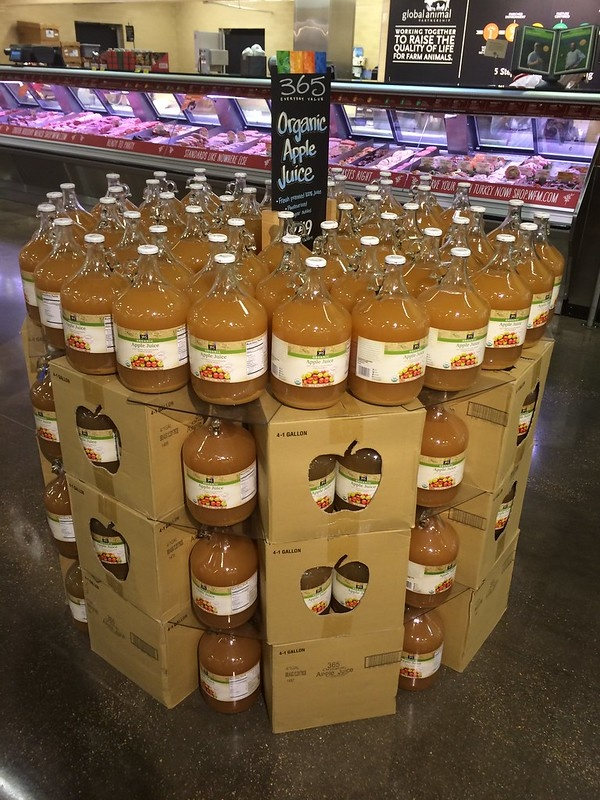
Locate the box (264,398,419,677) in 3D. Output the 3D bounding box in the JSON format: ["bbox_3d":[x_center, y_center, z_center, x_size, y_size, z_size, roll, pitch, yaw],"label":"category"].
[{"bbox_3d":[0.095,0.313,1.528,0.388,0.706,0.188,-4,32,-5],"label":"box"}]

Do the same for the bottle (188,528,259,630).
[{"bbox_3d":[-0.199,0.464,1.618,0.175,0.291,0.171,1,40,-1],"label":"bottle"}]

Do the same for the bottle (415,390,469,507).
[{"bbox_3d":[0.380,0.142,1.616,0.114,0.263,0.181,9,33,15],"label":"bottle"}]

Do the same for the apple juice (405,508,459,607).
[{"bbox_3d":[0.379,0.451,1.784,0.169,0.284,0.169,3,8,28],"label":"apple juice"}]

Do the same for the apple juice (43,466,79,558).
[{"bbox_3d":[-0.803,0.412,2.083,0.082,0.329,0.156,-15,35,-22],"label":"apple juice"}]

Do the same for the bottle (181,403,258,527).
[{"bbox_3d":[-0.194,0.162,1.491,0.182,0.252,0.196,-1,32,0],"label":"bottle"}]

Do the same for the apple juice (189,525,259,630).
[{"bbox_3d":[-0.202,0.465,1.657,0.170,0.284,0.164,-5,11,1],"label":"apple juice"}]

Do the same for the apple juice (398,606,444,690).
[{"bbox_3d":[0.371,0.742,1.920,0.134,0.335,0.132,4,14,14],"label":"apple juice"}]

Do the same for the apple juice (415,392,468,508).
[{"bbox_3d":[0.348,0.140,1.627,0.167,0.271,0.162,7,15,11],"label":"apple juice"}]

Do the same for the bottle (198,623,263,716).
[{"bbox_3d":[-0.204,0.739,1.821,0.167,0.402,0.157,0,25,0],"label":"bottle"}]

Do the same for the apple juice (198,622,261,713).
[{"bbox_3d":[-0.205,0.740,1.820,0.163,0.395,0.154,-3,25,-5],"label":"apple juice"}]

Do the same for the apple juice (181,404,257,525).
[{"bbox_3d":[-0.184,0.144,1.420,0.148,0.247,0.145,-18,47,-20],"label":"apple juice"}]
